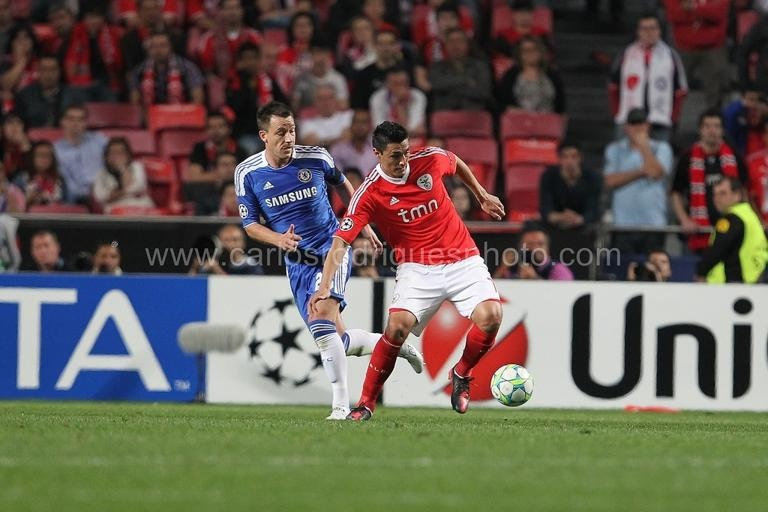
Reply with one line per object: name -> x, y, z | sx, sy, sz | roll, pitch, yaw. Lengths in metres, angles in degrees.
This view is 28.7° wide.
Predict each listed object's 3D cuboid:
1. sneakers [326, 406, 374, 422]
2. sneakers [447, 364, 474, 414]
sneakers -> -0.384, 1.794, 16.938 | 0.533, 0.223, 0.192 | 2, -13, 7
sneakers -> 0.879, 1.524, 17.148 | 0.194, 0.561, 0.244 | 1, -6, -25
